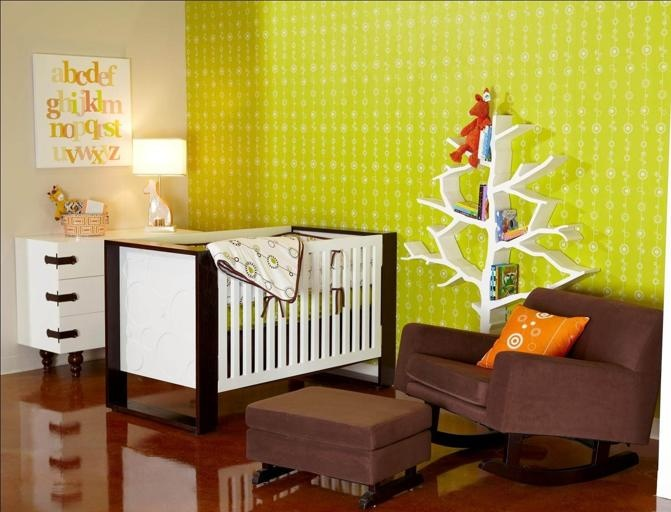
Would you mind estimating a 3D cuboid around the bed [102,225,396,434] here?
[{"bbox_3d":[-0.249,0.389,3.825,1.214,0.765,0.741,-8,12,-13],"label":"bed"}]

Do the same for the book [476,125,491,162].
[{"bbox_3d":[0.875,-0.664,3.530,0.038,0.222,0.098,-5,8,-38],"label":"book"}]

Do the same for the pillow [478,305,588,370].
[{"bbox_3d":[0.952,0.353,2.947,0.113,0.361,0.371,44,-20,-26],"label":"pillow"}]

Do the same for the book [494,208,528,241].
[{"bbox_3d":[1.018,-0.180,3.477,0.187,0.184,0.045,-7,-1,-29],"label":"book"}]

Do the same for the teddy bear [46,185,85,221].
[{"bbox_3d":[-2.034,-0.396,4.509,0.166,0.188,0.238,3,-17,46],"label":"teddy bear"}]

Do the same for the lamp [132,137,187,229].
[{"bbox_3d":[-1.427,-0.592,4.839,0.451,0.742,0.322,3,7,27],"label":"lamp"}]

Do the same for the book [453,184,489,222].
[{"bbox_3d":[0.822,-0.335,3.599,0.207,0.201,0.213,7,11,5],"label":"book"}]

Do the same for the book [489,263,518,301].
[{"bbox_3d":[0.988,0.148,3.555,0.207,0.193,0.074,-3,7,-42],"label":"book"}]

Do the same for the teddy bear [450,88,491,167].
[{"bbox_3d":[0.826,-0.814,3.634,0.260,0.397,0.264,21,18,13],"label":"teddy bear"}]

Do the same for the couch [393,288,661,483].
[{"bbox_3d":[0.923,0.595,2.978,0.985,0.886,1.038,-2,3,-28],"label":"couch"}]

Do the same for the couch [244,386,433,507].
[{"bbox_3d":[0.003,0.847,2.754,0.780,0.397,0.440,3,6,27],"label":"couch"}]
